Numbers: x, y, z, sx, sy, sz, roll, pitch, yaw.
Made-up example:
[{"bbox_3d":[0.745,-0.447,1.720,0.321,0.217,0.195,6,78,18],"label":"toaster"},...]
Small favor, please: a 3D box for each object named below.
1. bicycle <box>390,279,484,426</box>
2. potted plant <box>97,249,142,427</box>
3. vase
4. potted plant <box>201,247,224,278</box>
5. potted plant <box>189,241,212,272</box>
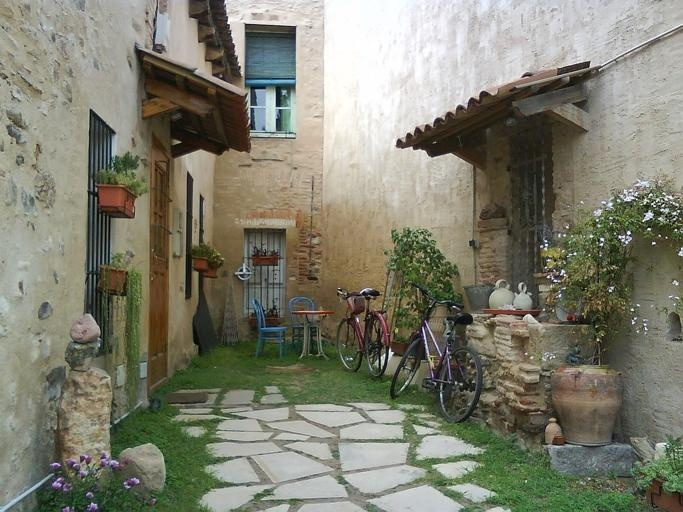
[{"bbox_3d":[1.066,1.112,6.317,0.617,1.091,1.576,9,0,-18],"label":"bicycle"},{"bbox_3d":[-1.972,0.744,5.316,0.332,1.529,1.002,1,1,-9],"label":"potted plant"},{"bbox_3d":[2.017,1.278,5.030,0.511,0.669,0.563,0,-9,6],"label":"vase"},{"bbox_3d":[-2.324,0.122,10.019,0.457,0.559,0.516,0,-2,8],"label":"potted plant"},{"bbox_3d":[-2.288,0.026,9.502,0.323,0.471,0.423,-5,-8,39],"label":"potted plant"}]
